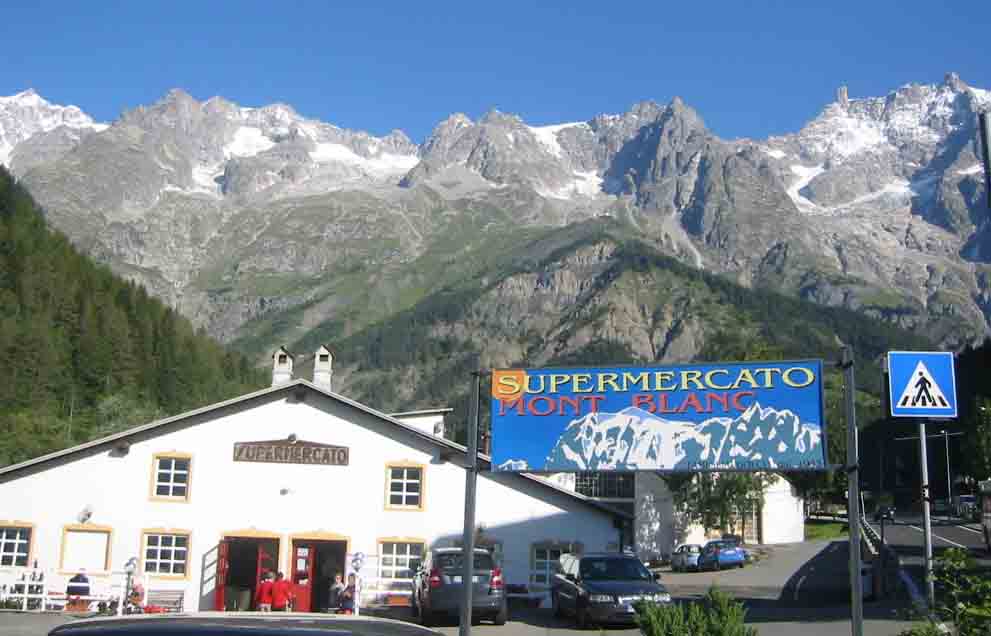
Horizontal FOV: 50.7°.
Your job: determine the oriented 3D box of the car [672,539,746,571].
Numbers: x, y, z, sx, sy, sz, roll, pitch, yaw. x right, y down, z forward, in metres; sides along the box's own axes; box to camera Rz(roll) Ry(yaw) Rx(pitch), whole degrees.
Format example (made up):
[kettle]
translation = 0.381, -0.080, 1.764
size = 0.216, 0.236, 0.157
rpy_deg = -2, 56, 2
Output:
[car]
translation = 21.254, 23.507, 104.360
size = 6.638, 2.912, 1.730
rpy_deg = -7, -17, 19
